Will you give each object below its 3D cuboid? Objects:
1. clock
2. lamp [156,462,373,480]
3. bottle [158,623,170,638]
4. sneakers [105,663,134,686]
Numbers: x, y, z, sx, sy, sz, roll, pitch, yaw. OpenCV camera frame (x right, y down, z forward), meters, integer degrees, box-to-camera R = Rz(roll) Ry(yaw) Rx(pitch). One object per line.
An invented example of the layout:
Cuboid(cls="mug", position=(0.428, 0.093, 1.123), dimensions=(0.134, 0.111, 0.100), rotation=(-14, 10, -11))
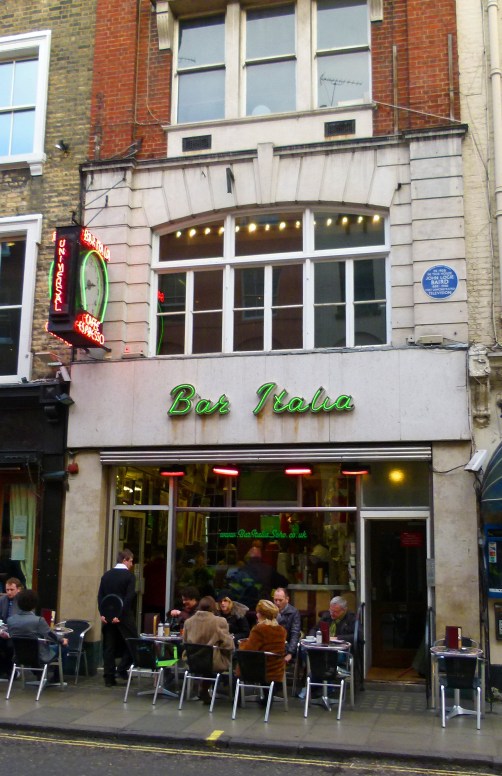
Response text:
Cuboid(cls="clock", position=(-2.389, -1.386, 12.951), dimensions=(0.592, 1.972, 1.506), rotation=(-3, -18, 10))
Cuboid(cls="lamp", position=(0.121, 1.161, 12.663), dimensions=(2.998, 0.187, 0.127), rotation=(-2, -10, 18))
Cuboid(cls="bottle", position=(-1.075, 2.980, 11.359), dimensions=(0.132, 0.237, 0.213), rotation=(-2, -11, 6))
Cuboid(cls="sneakers", position=(-1.727, 3.743, 11.855), dimensions=(0.166, 0.210, 0.492), rotation=(4, -15, 5))
